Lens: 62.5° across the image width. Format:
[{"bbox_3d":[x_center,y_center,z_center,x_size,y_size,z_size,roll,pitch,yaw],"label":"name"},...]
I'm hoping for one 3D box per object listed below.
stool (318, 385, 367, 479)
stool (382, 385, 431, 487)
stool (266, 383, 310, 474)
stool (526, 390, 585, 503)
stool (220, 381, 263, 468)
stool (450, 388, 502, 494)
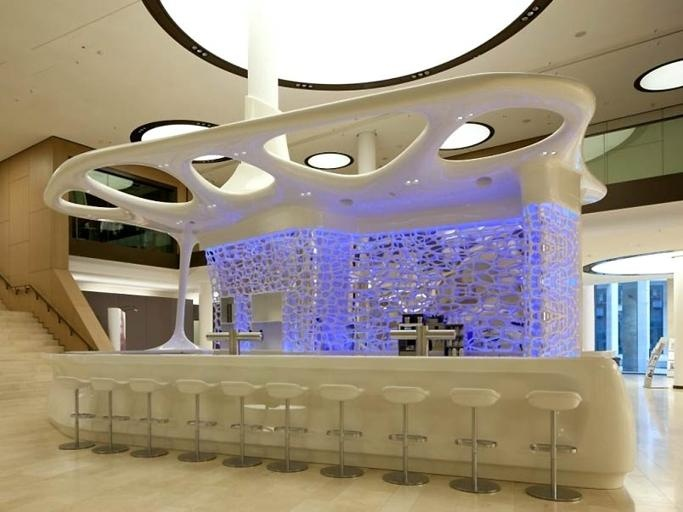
[{"bbox_3d":[-0.011,1.864,6.201,0.484,1.040,0.566,-2,5,-3],"label":"stool"},{"bbox_3d":[0.679,1.851,6.006,0.484,1.060,0.529,-1,5,6],"label":"stool"},{"bbox_3d":[-0.588,1.749,6.071,0.436,0.685,0.366,3,-35,-12],"label":"stool"},{"bbox_3d":[2.134,1.836,5.628,0.515,1.073,0.567,0,5,25],"label":"stool"},{"bbox_3d":[-1.168,1.899,6.523,0.520,0.837,0.439,-5,-15,21],"label":"stool"},{"bbox_3d":[1.383,1.839,5.782,0.503,1.079,0.511,2,6,35],"label":"stool"}]
